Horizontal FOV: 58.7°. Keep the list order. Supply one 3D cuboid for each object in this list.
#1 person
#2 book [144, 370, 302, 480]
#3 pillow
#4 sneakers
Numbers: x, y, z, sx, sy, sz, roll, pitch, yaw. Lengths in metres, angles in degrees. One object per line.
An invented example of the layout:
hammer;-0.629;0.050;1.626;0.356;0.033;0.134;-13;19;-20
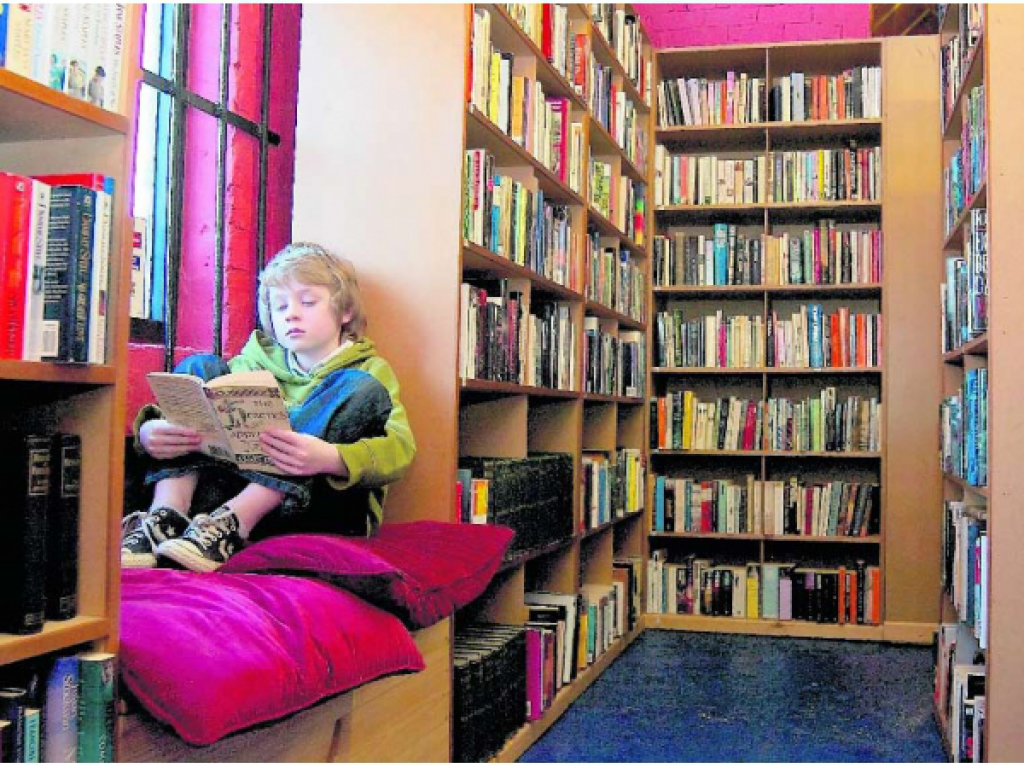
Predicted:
person;-0.561;0.022;2.107;0.573;0.796;0.731;-4;-12;30
book;-0.587;0.084;1.837;0.274;0.211;0.203;1;-3;-12
pillow;-0.388;0.430;1.736;0.352;0.255;0.902;-1;-3;26
sneakers;-0.659;0.304;1.828;0.131;0.064;0.174;5;-6;6
